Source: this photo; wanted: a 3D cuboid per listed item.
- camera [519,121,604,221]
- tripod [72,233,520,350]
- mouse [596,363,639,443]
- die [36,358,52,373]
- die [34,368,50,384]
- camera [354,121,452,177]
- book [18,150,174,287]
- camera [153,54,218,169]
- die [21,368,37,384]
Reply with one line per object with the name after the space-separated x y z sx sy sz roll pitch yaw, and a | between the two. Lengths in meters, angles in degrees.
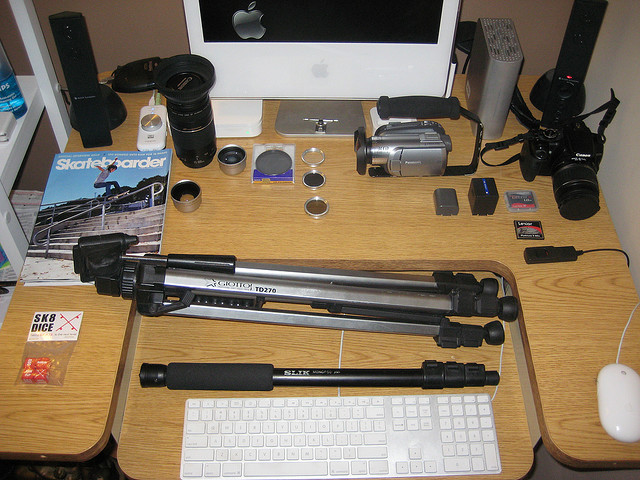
0.628 -0.186 1.394 0.208 0.150 0.260 -1 56 6 | camera
-0.077 0.134 1.204 0.912 0.202 0.133 6 21 -3 | tripod
0.630 0.348 1.075 0.090 0.036 0.148 5 66 8 | mouse
-0.605 0.274 1.115 0.028 0.027 0.027 -5 47 -18 | die
-0.606 0.298 1.106 0.031 0.019 0.030 7 57 -17 | die
0.224 -0.246 1.328 0.200 0.080 0.148 4 58 2 | camera
-0.569 -0.092 1.294 0.354 0.021 0.382 0 63 -5 | book
-0.337 -0.340 1.351 0.154 0.266 0.179 -9 45 -8 | camera
-0.633 0.299 1.107 0.026 0.029 0.023 -1 45 0 | die
